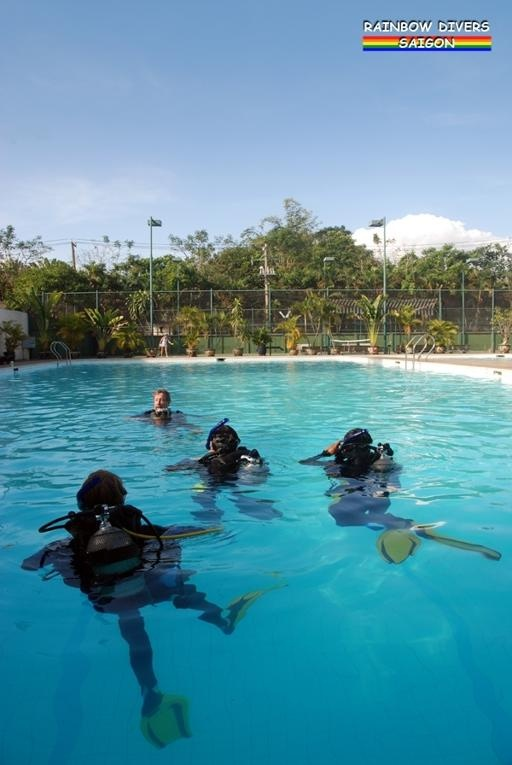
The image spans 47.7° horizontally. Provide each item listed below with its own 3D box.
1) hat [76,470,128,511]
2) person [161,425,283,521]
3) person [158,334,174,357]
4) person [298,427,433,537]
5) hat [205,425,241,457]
[{"bbox_3d":[-0.768,0.526,2.882,0.169,0.210,0.235,-3,6,-4],"label":"hat"},{"bbox_3d":[-0.278,0.745,5.111,1.010,0.695,1.400,2,14,-17],"label":"person"},{"bbox_3d":[-5.082,-2.202,32.035,0.696,1.183,1.794,-1,4,-2],"label":"person"},{"bbox_3d":[0.889,0.802,5.044,0.921,0.637,1.580,12,1,4],"label":"person"},{"bbox_3d":[-0.303,0.491,5.254,0.229,0.294,0.305,5,12,-8],"label":"hat"}]
